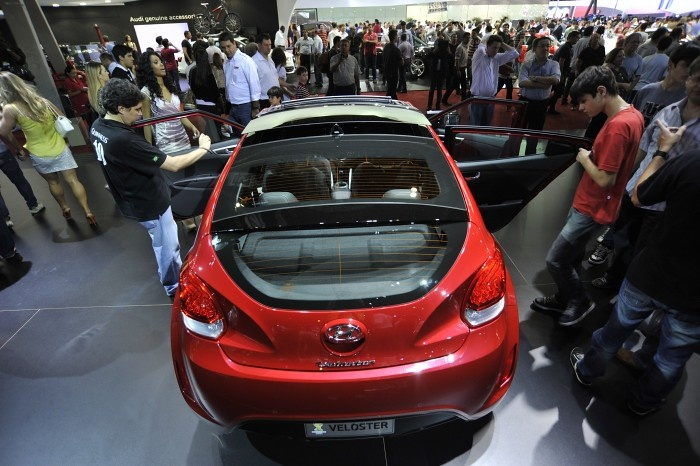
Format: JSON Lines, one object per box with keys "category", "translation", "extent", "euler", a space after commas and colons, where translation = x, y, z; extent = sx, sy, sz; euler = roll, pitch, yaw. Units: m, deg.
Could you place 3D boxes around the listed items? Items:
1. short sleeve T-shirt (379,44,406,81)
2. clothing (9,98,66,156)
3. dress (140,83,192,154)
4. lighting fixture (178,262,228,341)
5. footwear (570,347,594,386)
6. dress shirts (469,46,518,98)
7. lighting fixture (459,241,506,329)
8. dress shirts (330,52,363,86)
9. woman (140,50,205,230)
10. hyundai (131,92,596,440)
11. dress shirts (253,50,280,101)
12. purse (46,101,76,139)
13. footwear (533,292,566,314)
{"category": "short sleeve T-shirt", "translation": [1.102, -4.228, 9.094], "extent": [0.457, 0.860, 0.723], "euler": [-6, 27, -8]}
{"category": "clothing", "translation": [-4.036, -1.374, 4.761], "extent": [0.284, 0.464, 0.343], "euler": [-24, -7, 24]}
{"category": "dress", "translation": [-2.438, -1.482, 5.020], "extent": [0.370, 0.971, 0.488], "euler": [-18, 1, 24]}
{"category": "lighting fixture", "translation": [-0.925, 0.445, 2.488], "extent": [0.317, 0.431, 0.128], "euler": [-9, 2, 29]}
{"category": "footwear", "translation": [1.954, 1.110, 3.173], "extent": [0.105, 0.120, 0.309], "euler": [1, 42, 5]}
{"category": "dress shirts", "translation": [2.644, -3.147, 7.267], "extent": [0.609, 0.908, 0.740], "euler": [12, 33, 21]}
{"category": "lighting fixture", "translation": [0.873, 0.366, 2.472], "extent": [0.286, 0.132, 0.466], "euler": [10, 71, 3]}
{"category": "dress shirts", "translation": [-0.133, -3.621, 8.293], "extent": [0.652, 0.634, 0.358], "euler": [-3, 35, -7]}
{"category": "woman", "translation": [-2.342, -1.167, 5.042], "extent": [0.669, 2.406, 0.640], "euler": [-16, 13, -27]}
{"category": "hyundai", "translation": [-0.005, 0.230, 2.685], "extent": [2.173, 1.601, 1.770], "euler": [6, 31, 11]}
{"category": "dress shirts", "translation": [-1.605, -3.161, 7.068], "extent": [0.299, 0.472, 0.537], "euler": [6, 59, 0]}
{"category": "purse", "translation": [-3.768, -1.469, 4.864], "extent": [0.170, 0.437, 0.507], "euler": [-22, 37, -32]}
{"category": "footwear", "translation": [1.901, 0.682, 3.650], "extent": [0.354, 0.147, 0.119], "euler": [8, 45, 7]}
